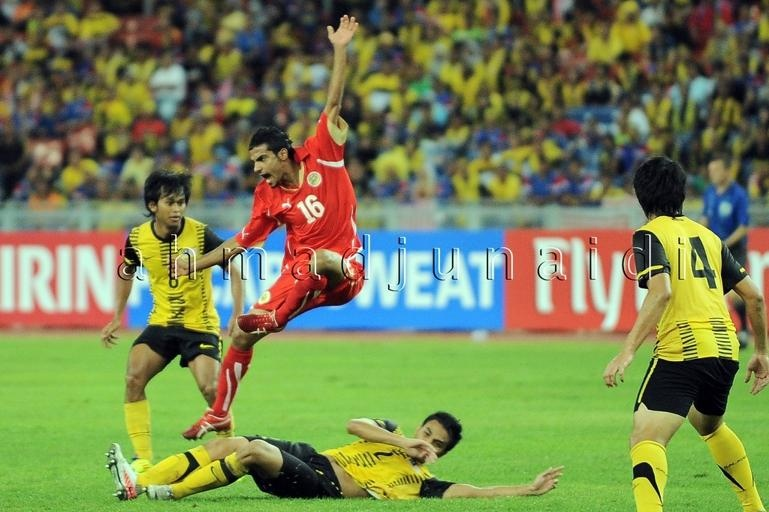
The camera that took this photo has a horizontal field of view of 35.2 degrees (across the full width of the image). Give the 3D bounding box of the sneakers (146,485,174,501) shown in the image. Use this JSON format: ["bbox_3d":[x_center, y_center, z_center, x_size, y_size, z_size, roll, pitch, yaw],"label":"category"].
[{"bbox_3d":[-2.510,2.648,13.563,0.224,0.172,0.088,2,16,-8],"label":"sneakers"}]

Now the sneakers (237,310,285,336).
[{"bbox_3d":[-1.484,0.798,14.587,0.566,0.216,0.245,-3,5,-8],"label":"sneakers"}]
